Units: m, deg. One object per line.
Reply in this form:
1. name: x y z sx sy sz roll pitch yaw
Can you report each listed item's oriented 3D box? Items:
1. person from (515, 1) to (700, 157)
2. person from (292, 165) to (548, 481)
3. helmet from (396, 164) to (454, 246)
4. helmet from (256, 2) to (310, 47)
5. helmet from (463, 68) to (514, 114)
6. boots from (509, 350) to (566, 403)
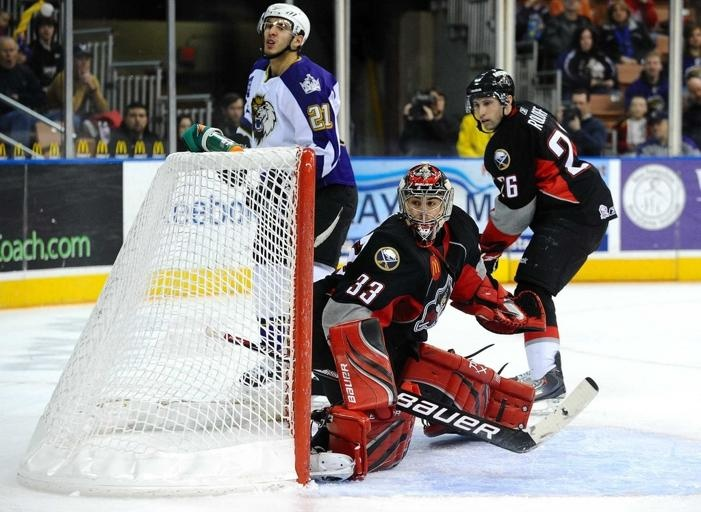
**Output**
1. person: 2.581 -1.872 10.406 1.561 1.601 0.958 1 -6 10
2. person: 0.152 0.194 4.647 1.233 1.345 1.108 6 10 42
3. helmet: 0.340 -0.267 4.309 0.247 0.322 0.346 1 20 13
4. helmet: -0.342 -1.191 4.953 0.245 0.187 0.243 1 8 -4
5. helmet: 0.732 -0.852 5.135 0.219 0.254 0.287 -8 0 40
6. boots: 0.954 0.593 5.028 0.122 0.269 0.373 -41 15 -36
